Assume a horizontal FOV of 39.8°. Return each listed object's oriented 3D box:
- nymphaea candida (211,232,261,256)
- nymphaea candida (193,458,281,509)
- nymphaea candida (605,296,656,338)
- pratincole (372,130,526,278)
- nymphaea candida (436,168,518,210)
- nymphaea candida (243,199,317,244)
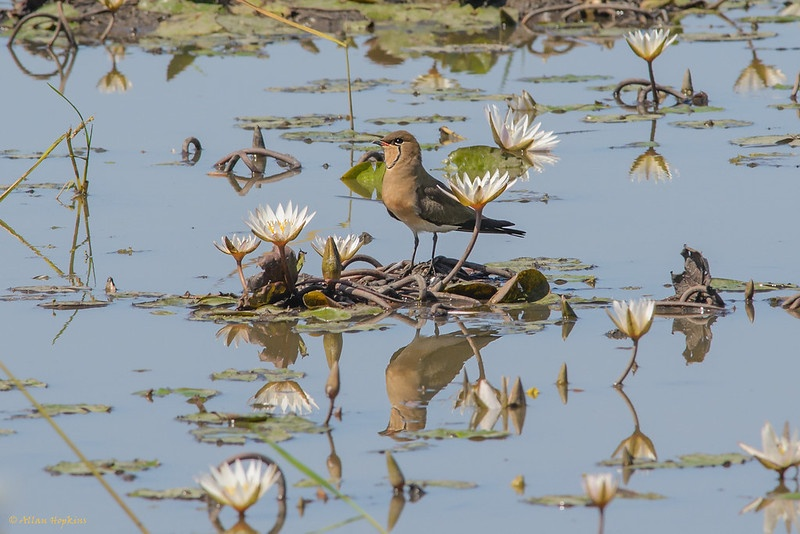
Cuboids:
[{"bbox_3d":[-1.471,-0.206,10.124,0.452,0.185,0.389,-4,7,-33],"label":"nymphaea candida"},{"bbox_3d":[-1.328,1.804,9.120,0.664,0.439,0.279,5,-10,-5],"label":"nymphaea candida"},{"bbox_3d":[2.092,0.458,9.948,0.347,0.366,0.330,3,-10,8],"label":"nymphaea candida"},{"bbox_3d":[0.520,-0.719,12.451,2.021,1.559,0.780,-3,6,-40],"label":"pratincole"},{"bbox_3d":[0.722,-0.752,10.987,0.762,0.402,0.768,-6,0,14],"label":"nymphaea candida"},{"bbox_3d":[-1.217,-0.435,10.872,0.610,0.418,0.537,8,-10,-21],"label":"nymphaea candida"}]
